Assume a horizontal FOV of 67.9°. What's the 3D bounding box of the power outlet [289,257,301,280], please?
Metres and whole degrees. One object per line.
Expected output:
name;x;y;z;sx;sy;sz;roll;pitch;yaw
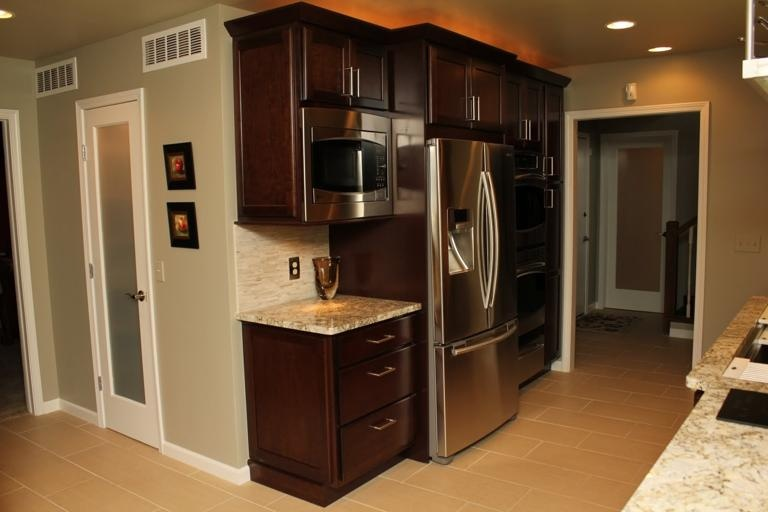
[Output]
power outlet;-0.697;0.088;4.362;0.022;0.219;0.167;5;7;31

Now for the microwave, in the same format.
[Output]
microwave;-0.292;-0.638;3.898;0.505;0.760;0.847;2;5;41

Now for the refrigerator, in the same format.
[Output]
refrigerator;0.662;0.290;4.440;0.411;2.383;1.060;10;17;42

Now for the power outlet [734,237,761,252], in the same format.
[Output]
power outlet;3.226;-0.110;5.080;0.197;0.159;0.036;7;15;32

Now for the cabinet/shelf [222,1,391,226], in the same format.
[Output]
cabinet/shelf;-0.478;-0.948;3.882;1.078;1.398;0.567;-5;13;-14

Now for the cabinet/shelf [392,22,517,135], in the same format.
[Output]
cabinet/shelf;0.489;-1.359;4.324;0.243;0.515;0.932;3;6;41
